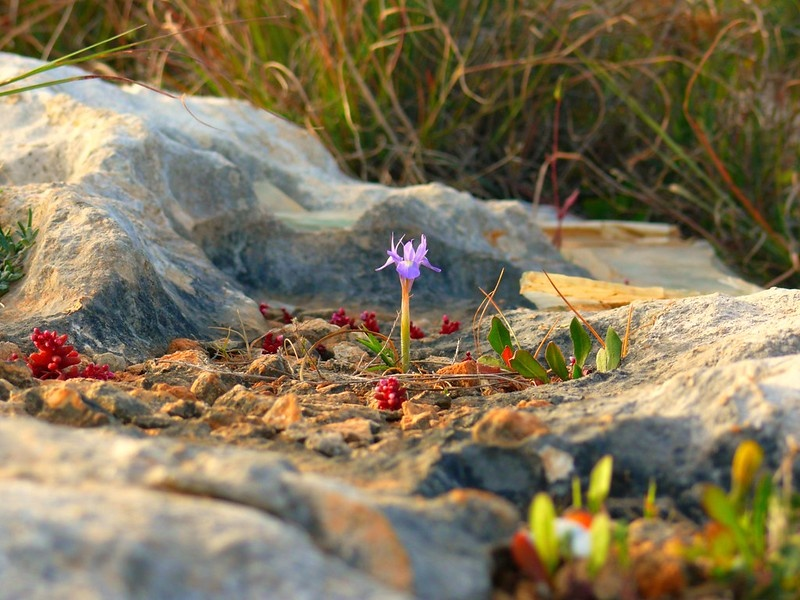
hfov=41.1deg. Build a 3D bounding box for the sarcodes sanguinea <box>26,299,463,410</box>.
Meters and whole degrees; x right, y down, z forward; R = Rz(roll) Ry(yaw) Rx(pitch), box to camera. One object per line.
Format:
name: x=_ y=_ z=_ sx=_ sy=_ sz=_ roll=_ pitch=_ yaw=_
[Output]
sarcodes sanguinea: x=-0.519 y=0.248 z=4.180 sx=0.698 sy=0.188 sz=0.745 roll=9 pitch=13 yaw=36
